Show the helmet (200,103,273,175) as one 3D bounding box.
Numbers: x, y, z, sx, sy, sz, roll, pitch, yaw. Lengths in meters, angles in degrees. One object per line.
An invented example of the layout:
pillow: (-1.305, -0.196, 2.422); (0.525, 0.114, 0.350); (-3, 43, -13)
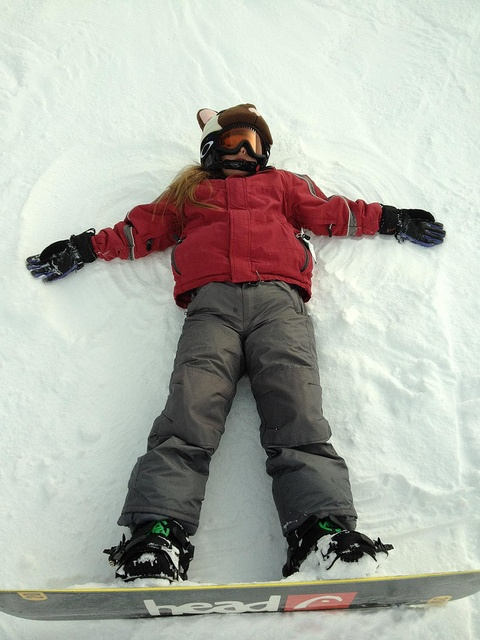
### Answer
helmet: (-0.071, -0.843, 3.378); (0.320, 0.368, 0.282); (6, 58, -19)

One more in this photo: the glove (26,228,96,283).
glove: (-0.805, -0.302, 3.282); (0.360, 0.092, 0.162); (-29, 78, -9)

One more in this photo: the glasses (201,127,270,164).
glasses: (-0.031, -0.807, 3.261); (0.205, 0.224, 0.111); (7, 65, -28)

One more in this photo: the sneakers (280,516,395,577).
sneakers: (0.303, 0.759, 2.363); (0.275, 0.280, 0.105); (9, 78, -24)

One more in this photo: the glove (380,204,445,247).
glove: (0.848, -0.455, 3.370); (0.341, 0.105, 0.164); (2, 84, -8)

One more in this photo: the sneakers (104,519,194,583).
sneakers: (-0.301, 0.786, 2.366); (0.235, 0.260, 0.111); (-4, 81, 9)
